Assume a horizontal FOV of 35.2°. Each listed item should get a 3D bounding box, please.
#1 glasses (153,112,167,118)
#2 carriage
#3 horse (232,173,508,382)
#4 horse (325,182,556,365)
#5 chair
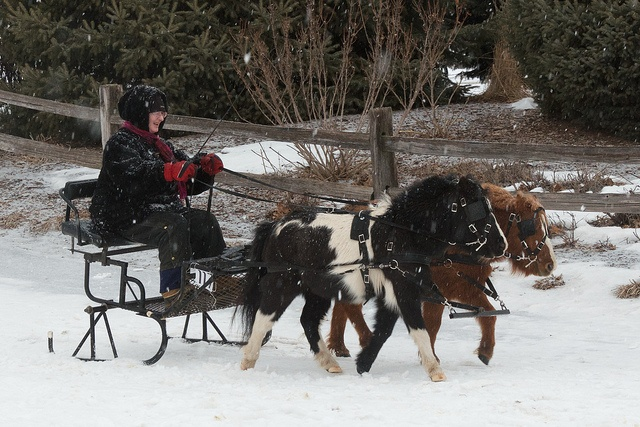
[{"bbox_3d":[-2.318,-1.412,14.337,0.113,0.032,0.112,9,-24,-39],"label":"glasses"},{"bbox_3d":[-0.575,0.741,14.854,7.622,2.808,2.676,1,1,13],"label":"carriage"},{"bbox_3d":[0.629,0.910,13.785,3.977,2.640,1.232,-2,-2,28],"label":"horse"},{"bbox_3d":[1.598,0.869,14.757,3.968,2.673,1.084,-3,-3,32],"label":"horse"},{"bbox_3d":[-2.577,0.378,14.527,2.312,1.683,2.010,-6,14,-35],"label":"chair"}]
